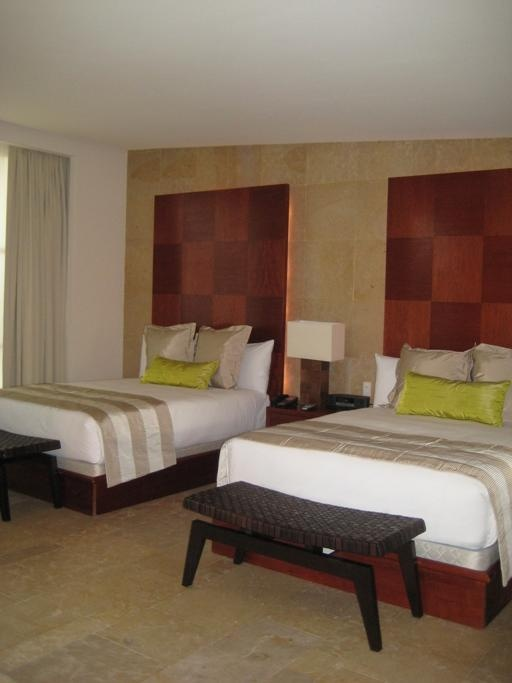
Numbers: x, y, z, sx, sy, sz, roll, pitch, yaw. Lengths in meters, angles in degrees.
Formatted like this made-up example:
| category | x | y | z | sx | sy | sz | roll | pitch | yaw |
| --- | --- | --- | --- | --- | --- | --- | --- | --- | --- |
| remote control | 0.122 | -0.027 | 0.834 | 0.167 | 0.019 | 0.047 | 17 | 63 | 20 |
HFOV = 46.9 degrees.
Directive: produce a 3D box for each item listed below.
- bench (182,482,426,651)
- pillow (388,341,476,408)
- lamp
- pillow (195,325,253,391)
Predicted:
| category | x | y | z | sx | sy | sz | roll | pitch | yaw |
| --- | --- | --- | --- | --- | --- | --- | --- | --- | --- |
| bench | 0.166 | 0.846 | 2.347 | 0.899 | 0.378 | 0.384 | 1 | 2 | 38 |
| pillow | 1.187 | 0.236 | 3.915 | 0.135 | 0.404 | 0.451 | 16 | -12 | -40 |
| lamp | 0.503 | 0.181 | 4.872 | 0.462 | 0.721 | 0.340 | 1 | 0 | 38 |
| pillow | -0.338 | 0.116 | 5.031 | 0.575 | 0.522 | 0.294 | 4 | 12 | 41 |
